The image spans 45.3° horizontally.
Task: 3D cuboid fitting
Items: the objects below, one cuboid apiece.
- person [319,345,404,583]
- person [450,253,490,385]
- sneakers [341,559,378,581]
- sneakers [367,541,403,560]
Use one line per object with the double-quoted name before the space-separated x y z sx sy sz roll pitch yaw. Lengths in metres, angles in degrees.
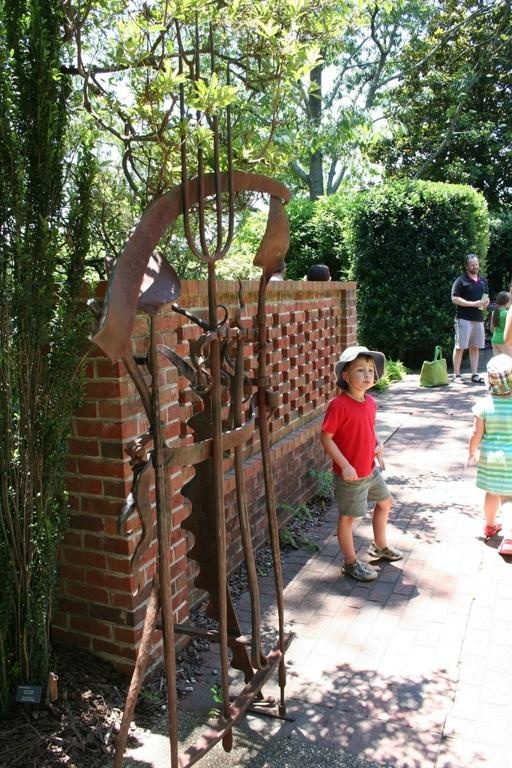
"person" 0.615 0.446 3.599 0.377 1.321 0.567 2 7 28
"person" 3.505 -1.071 10.054 0.532 2.156 0.956 1 7 19
"sneakers" 0.591 1.065 3.536 0.174 0.075 0.096 0 4 39
"sneakers" 0.798 1.029 3.791 0.193 0.090 0.083 -1 30 0
